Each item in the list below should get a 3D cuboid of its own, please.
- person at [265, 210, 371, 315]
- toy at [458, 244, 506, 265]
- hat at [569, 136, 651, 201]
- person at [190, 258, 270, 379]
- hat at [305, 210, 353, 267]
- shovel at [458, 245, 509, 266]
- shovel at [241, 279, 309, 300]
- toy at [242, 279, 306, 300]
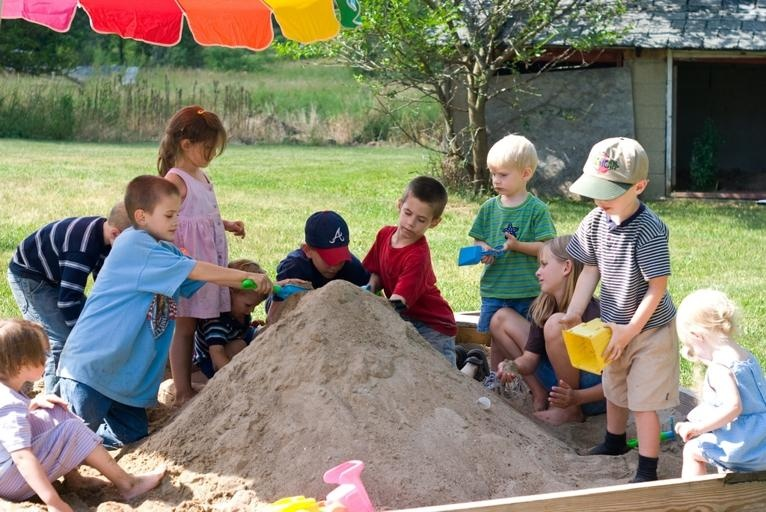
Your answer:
[{"bbox_3d":[-0.557,0.011,8.334,0.710,0.540,1.039,11,-26,-8],"label":"person"},{"bbox_3d":[0.929,0.018,8.562,0.398,0.103,0.190,-7,32,1],"label":"toy"},{"bbox_3d":[1.841,-0.704,7.293,0.632,0.327,0.415,-19,25,-38],"label":"hat"},{"bbox_3d":[-1.390,0.553,8.091,0.686,0.948,0.639,14,25,7],"label":"person"},{"bbox_3d":[-0.511,-0.156,8.332,0.413,0.493,0.227,1,7,-3],"label":"hat"},{"bbox_3d":[0.915,-0.018,8.544,0.354,0.103,0.202,-1,22,-2],"label":"shovel"},{"bbox_3d":[-0.941,0.275,7.884,0.389,0.096,0.256,15,-2,-38],"label":"shovel"},{"bbox_3d":[-0.980,0.301,7.882,0.414,0.105,0.242,17,-2,-35],"label":"toy"}]
